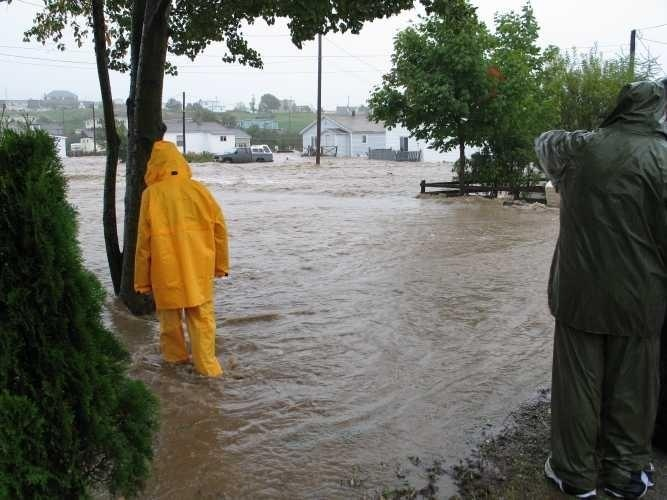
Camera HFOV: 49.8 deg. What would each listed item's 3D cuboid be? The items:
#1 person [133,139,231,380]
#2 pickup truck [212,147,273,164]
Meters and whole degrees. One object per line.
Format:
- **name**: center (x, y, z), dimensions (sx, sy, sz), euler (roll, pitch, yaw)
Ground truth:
- **person**: center (-1.367, 0.075, 6.471), dimensions (0.755, 2.042, 0.561), euler (1, 12, 3)
- **pickup truck**: center (-6.117, -6.567, 50.194), dimensions (3.164, 1.365, 1.758), euler (0, 7, -26)
